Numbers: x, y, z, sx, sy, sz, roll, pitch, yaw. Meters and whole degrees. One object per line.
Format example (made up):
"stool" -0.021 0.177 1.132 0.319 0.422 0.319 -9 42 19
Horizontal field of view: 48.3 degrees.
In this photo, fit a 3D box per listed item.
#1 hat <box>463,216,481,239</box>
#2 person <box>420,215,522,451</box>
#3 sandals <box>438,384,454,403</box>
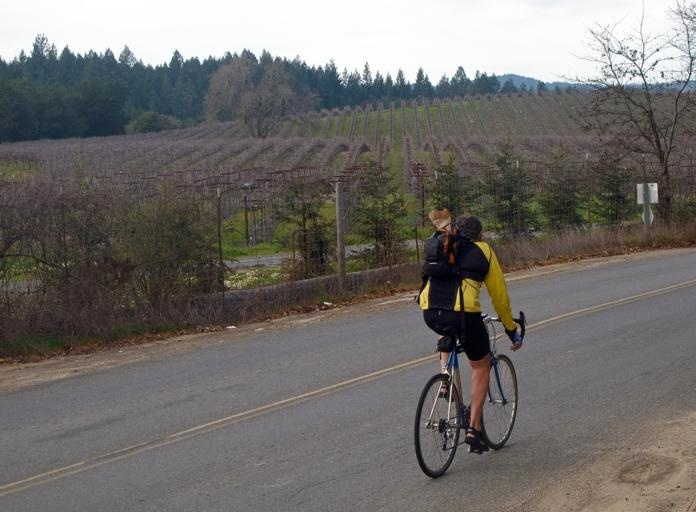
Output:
"hat" 1.630 -0.385 10.143 0.198 0.322 0.284 1 8 10
"person" 1.555 1.023 10.254 1.226 3.101 0.773 -1 7 11
"sandals" 1.287 1.772 10.040 0.301 0.284 0.043 -10 10 -40
